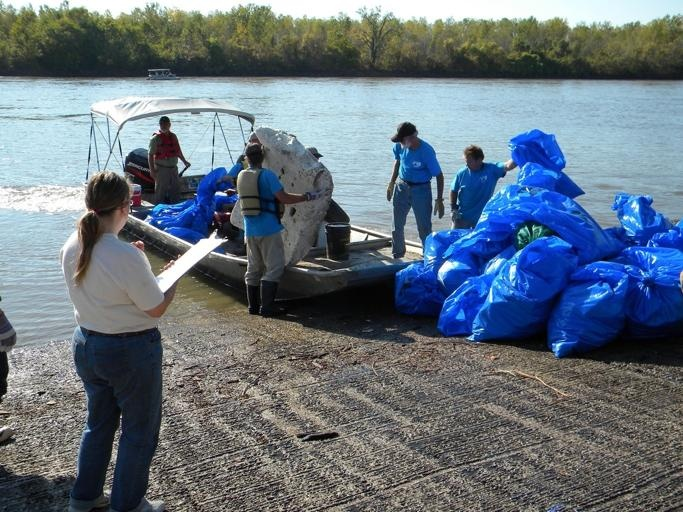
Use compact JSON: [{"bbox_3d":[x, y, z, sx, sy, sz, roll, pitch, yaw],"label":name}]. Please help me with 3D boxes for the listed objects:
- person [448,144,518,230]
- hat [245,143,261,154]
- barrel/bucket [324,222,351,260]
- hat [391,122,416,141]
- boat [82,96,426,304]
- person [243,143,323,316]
[{"bbox_3d":[1.686,-0.809,7.741,0.724,1.009,0.479,2,14,8],"label":"person"},{"bbox_3d":[-0.945,-1.148,6.925,0.176,0.121,0.229,-1,11,-9],"label":"hat"},{"bbox_3d":[-0.039,-0.169,7.689,0.284,0.421,0.222,0,13,-4],"label":"barrel/bucket"},{"bbox_3d":[0.793,-1.528,7.980,0.317,0.250,0.343,1,11,3],"label":"hat"},{"bbox_3d":[-1.680,-1.247,9.845,3.159,2.125,7.469,-16,24,-41],"label":"boat"},{"bbox_3d":[-0.718,-0.262,7.066,0.827,1.918,0.520,2,14,7],"label":"person"}]
